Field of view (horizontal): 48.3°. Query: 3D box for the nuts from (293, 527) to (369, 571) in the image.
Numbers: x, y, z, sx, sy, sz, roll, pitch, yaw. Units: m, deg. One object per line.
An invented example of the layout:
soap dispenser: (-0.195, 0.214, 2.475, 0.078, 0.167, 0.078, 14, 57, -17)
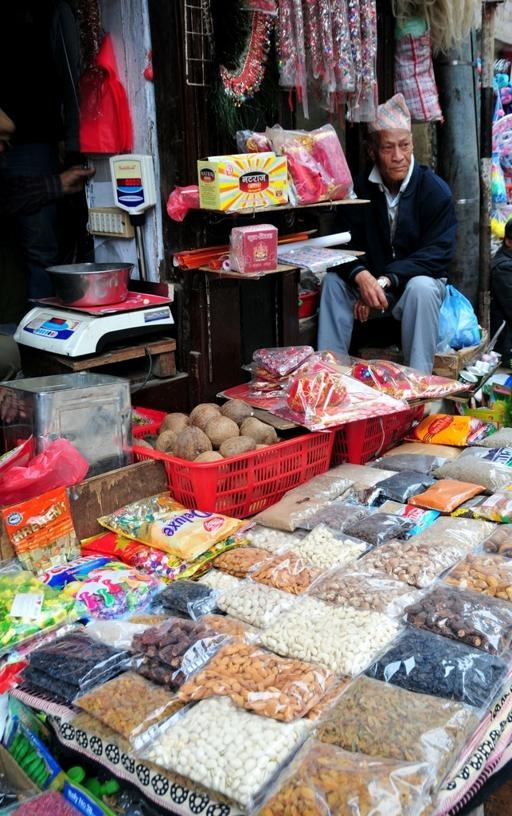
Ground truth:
nuts: (0.246, 0.388, 1.739, 0.136, 0.096, 0.239, -11, 9, -35)

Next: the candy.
candy: (-0.385, 0.450, 1.578, 0.363, 0.142, 0.447, -14, 22, -16)

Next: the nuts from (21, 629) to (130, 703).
nuts: (-0.402, 0.529, 1.284, 0.178, 0.100, 0.239, 9, 15, 35)

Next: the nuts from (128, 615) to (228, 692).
nuts: (-0.183, 0.521, 1.224, 0.117, 0.042, 0.108, 9, 15, 41)

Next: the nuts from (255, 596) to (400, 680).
nuts: (0.166, 0.504, 1.301, 0.200, 0.097, 0.285, -9, 17, -25)

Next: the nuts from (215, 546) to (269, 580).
nuts: (-0.034, 0.452, 1.721, 0.081, 0.036, 0.095, 4, 10, 33)

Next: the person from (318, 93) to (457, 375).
person: (0.746, -0.924, 3.343, 0.748, 1.724, 0.763, 7, 21, 19)

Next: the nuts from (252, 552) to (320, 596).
nuts: (0.089, 0.460, 1.605, 0.117, 0.078, 0.166, -12, 15, -32)

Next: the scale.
scale: (-0.720, -0.374, 2.512, 0.679, 0.166, 0.684, -4, 20, -9)

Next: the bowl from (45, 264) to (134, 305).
bowl: (-0.737, -0.591, 2.488, 0.346, 0.200, 0.455, 14, 23, 36)

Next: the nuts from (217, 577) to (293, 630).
nuts: (-0.004, 0.501, 1.466, 0.149, 0.069, 0.206, 8, 17, 41)
